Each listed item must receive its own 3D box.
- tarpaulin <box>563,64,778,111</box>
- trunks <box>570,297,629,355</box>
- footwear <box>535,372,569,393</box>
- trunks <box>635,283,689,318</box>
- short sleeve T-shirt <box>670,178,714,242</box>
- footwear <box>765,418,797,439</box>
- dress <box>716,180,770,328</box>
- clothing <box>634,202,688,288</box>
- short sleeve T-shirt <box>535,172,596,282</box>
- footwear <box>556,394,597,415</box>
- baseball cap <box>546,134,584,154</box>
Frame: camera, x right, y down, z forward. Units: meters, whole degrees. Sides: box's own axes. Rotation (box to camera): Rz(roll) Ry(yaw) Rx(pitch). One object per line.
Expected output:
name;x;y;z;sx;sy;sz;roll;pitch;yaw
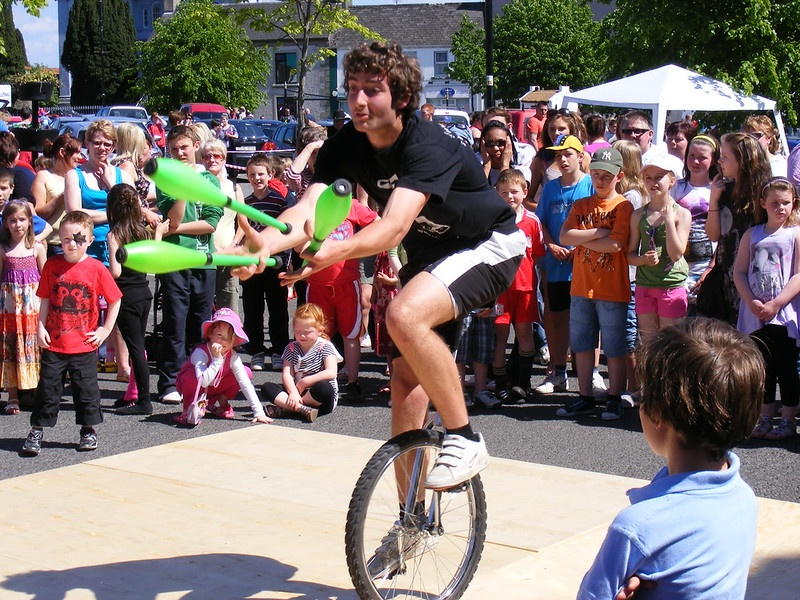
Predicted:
tarpaulin;4.071;-3.038;14.312;1.375;0.356;1.404;-2;6;-35
trunks;1.564;0.188;7.719;0.451;0.546;0.224;4;6;28
footwear;1.313;0.715;8.484;0.363;0.142;0.120;-1;1;-35
trunks;2.027;0.008;7.726;0.451;0.372;0.260;0;0;32
short sleeve T-shirt;2.601;-0.802;8.474;0.510;0.466;0.266;10;32;44
footwear;2.761;0.924;7.087;0.308;0.113;0.109;1;0;-43
dress;2.698;-0.548;7.609;0.314;1.110;0.364;-22;30;-18
clothing;1.987;-0.383;7.715;0.478;0.651;0.336;-2;3;6
short sleeve T-shirt;1.425;-0.702;8.444;0.621;0.950;0.265;-5;44;3
footwear;1.409;0.832;7.834;0.387;0.152;0.137;-2;3;-13
baseball cap;1.406;-1.331;8.233;0.267;0.128;0.168;-8;5;-33
